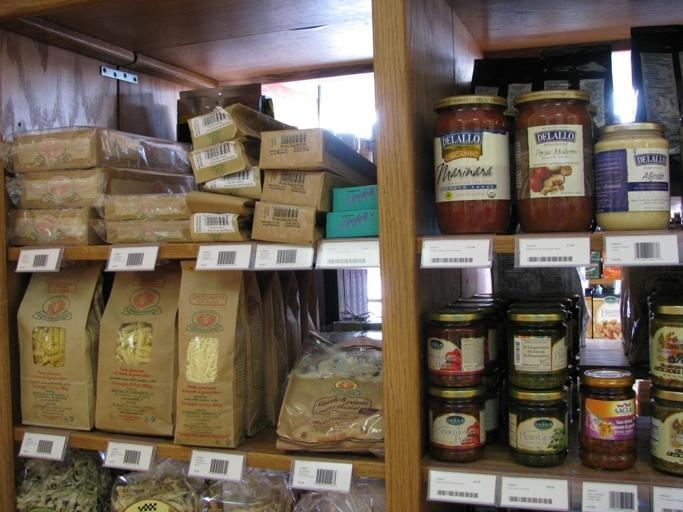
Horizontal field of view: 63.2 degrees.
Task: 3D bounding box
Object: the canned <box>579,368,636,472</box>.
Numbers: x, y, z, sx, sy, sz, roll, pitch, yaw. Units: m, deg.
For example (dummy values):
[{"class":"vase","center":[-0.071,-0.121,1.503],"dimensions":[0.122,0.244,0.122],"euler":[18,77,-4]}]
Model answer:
[{"class":"canned","center":[0.647,0.401,1.344],"dimensions":[0.125,0.232,0.051],"euler":[-2,-1,16]}]
